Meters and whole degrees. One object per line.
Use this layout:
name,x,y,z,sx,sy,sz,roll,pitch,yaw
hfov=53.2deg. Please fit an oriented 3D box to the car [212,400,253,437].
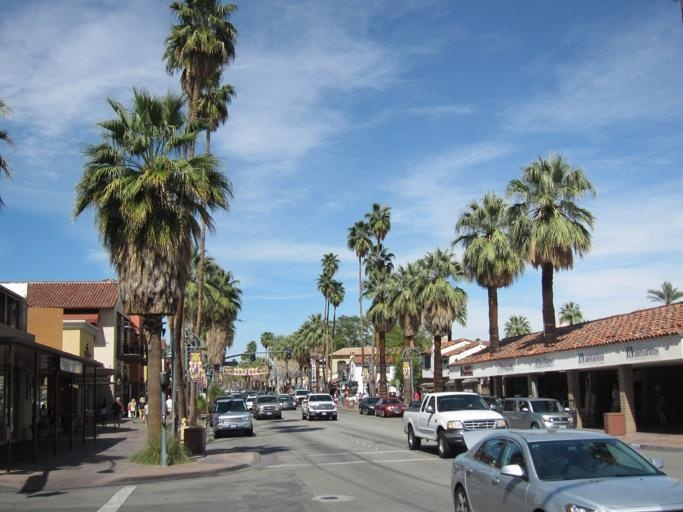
car,-5.874,8.711,36.491,1.185,1.341,2.755,1,-20,-9

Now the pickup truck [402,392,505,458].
pickup truck,3.856,6.155,24.920,1.724,1.599,3.766,3,-17,-15

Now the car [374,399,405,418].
car,3.982,12.968,58.064,1.409,1.282,3.543,2,-12,-6

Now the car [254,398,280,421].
car,-5.760,11.830,53.559,1.678,1.636,1.941,4,-18,-20

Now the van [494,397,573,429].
van,8.857,7.157,31.477,1.769,1.709,3.657,4,-19,-18
